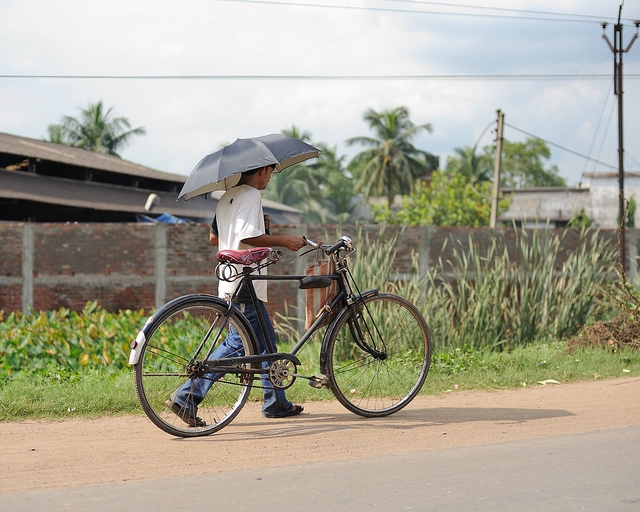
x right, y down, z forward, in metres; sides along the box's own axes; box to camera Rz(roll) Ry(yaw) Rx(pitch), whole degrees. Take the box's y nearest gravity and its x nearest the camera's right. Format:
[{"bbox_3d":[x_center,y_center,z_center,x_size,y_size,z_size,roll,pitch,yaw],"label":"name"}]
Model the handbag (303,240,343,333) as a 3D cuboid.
[{"bbox_3d":[0.012,0.340,14.818,0.436,1.048,0.381,-4,11,-16],"label":"handbag"}]
